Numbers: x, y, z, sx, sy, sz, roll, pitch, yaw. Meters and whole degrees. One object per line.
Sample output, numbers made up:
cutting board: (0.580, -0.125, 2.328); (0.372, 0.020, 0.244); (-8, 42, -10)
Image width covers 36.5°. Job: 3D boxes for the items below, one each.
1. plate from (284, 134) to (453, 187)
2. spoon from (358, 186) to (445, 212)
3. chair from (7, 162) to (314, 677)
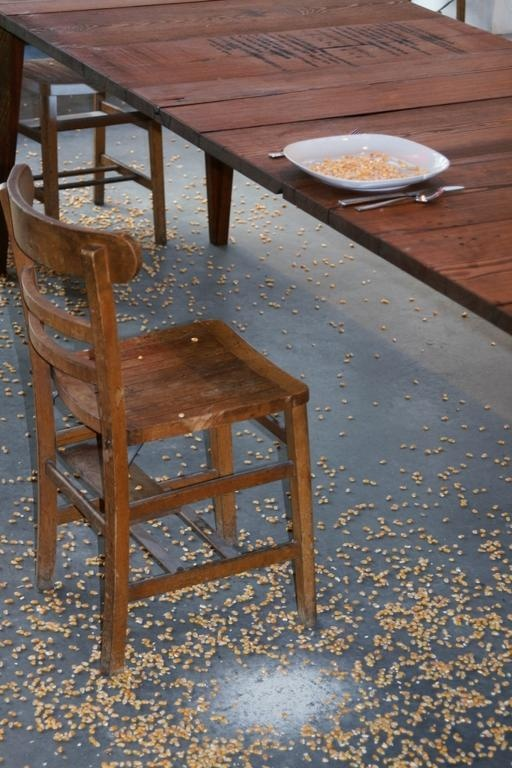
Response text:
plate: (0.189, -0.380, 1.324); (0.158, 0.028, 0.146); (-12, 34, -19)
spoon: (0.222, -0.287, 1.205); (0.144, 0.022, 0.024); (-13, 38, -8)
chair: (-0.179, 0.038, 1.337); (0.512, 0.789, 0.539); (-17, 31, -39)
